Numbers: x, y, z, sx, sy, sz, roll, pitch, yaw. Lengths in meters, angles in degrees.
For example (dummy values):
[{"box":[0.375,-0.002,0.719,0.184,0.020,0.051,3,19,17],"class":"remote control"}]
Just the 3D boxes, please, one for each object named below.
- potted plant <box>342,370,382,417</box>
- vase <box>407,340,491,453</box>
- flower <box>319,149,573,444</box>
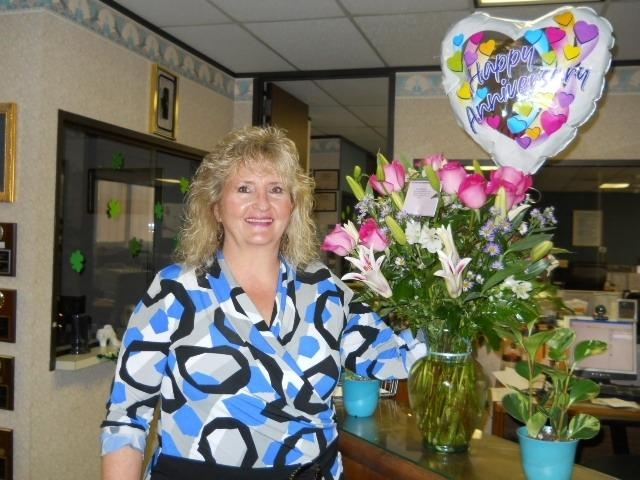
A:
[{"box":[0.152,0.516,1.789,0.137,0.115,0.143,-1,-2,12],"class":"potted plant"},{"box":[0.329,0.465,1.594,0.265,0.345,0.277,0,-8,0],"class":"vase"},{"box":[0.354,0.179,1.486,0.625,0.852,0.426,0,-3,27],"class":"flower"}]
